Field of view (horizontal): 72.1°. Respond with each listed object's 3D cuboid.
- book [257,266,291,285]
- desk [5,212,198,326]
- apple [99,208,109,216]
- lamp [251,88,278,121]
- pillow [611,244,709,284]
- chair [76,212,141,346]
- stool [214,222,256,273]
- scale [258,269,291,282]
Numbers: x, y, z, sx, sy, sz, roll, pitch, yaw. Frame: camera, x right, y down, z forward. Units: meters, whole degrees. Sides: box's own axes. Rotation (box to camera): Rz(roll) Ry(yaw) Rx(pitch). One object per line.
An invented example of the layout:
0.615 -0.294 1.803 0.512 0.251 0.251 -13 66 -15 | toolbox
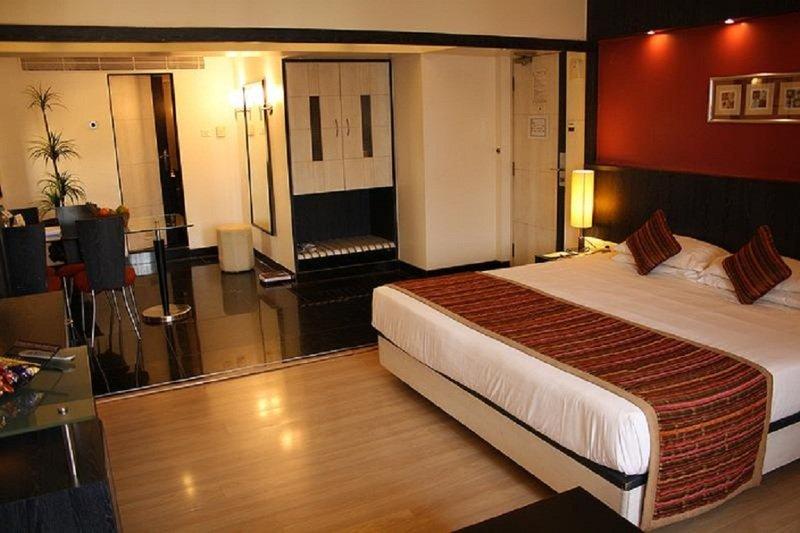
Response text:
-1.682 0.124 7.426 0.318 0.075 0.328 -7 21 -27 | book
-3.160 -0.132 5.998 2.005 1.418 1.155 -6 22 -27 | desk
-3.110 -0.576 5.769 0.085 0.047 0.076 10 39 4 | apple
-1.921 -2.251 7.584 0.518 0.477 0.157 9 13 40 | lamp
2.466 -0.025 5.029 0.427 0.117 0.416 4 33 31 | pillow
-3.178 0.059 5.933 0.540 1.286 1.165 -13 17 -26 | chair
-2.334 -0.292 7.953 0.686 0.680 0.641 5 13 26 | stool
-1.674 0.134 7.385 0.243 0.053 0.245 -7 17 -26 | scale
